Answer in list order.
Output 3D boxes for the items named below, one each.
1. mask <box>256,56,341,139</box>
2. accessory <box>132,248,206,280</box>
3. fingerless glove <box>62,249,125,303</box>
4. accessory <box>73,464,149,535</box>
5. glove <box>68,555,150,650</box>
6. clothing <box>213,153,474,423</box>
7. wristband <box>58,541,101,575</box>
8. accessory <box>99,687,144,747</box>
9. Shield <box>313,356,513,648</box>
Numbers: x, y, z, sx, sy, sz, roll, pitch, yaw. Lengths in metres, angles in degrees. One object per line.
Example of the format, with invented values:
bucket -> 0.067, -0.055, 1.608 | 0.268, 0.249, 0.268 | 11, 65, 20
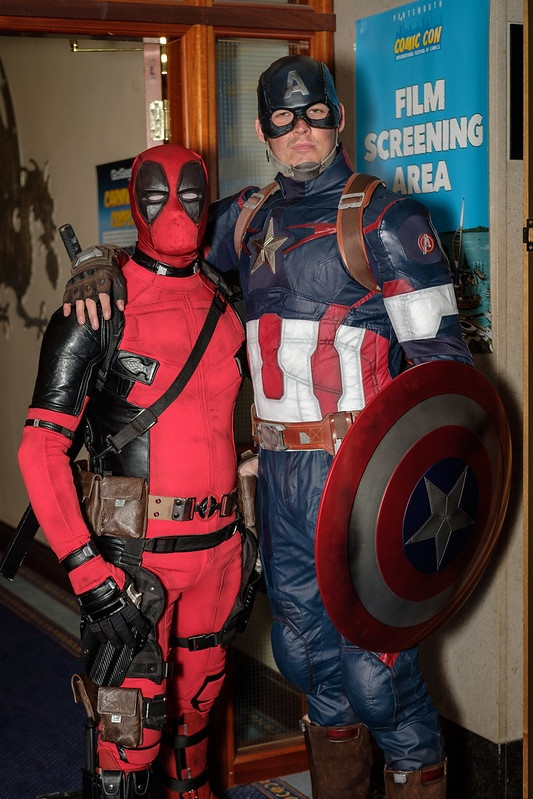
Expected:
mask -> 0.066, -0.626, 1.501 | 0.172, 0.158, 0.173 | -6, 32, 8
accessory -> -0.204, -0.276, 1.481 | 0.086, 0.024, 0.096 | 5, -14, 39
fingerless glove -> -0.334, -0.248, 1.393 | 0.122, 0.141, 0.229 | -1, 1, -11
accessory -> -0.300, 0.201, 1.357 | 0.104, 0.126, 0.054 | 1, 2, 12
glove -> -0.277, 0.398, 1.336 | 0.120, 0.147, 0.065 | -11, 31, 31
clothing -> 0.154, -0.208, 1.415 | 0.710, 0.525, 0.242 | 1, 12, 45
wristband -> -0.354, 0.304, 1.309 | 0.061, 0.032, 0.063 | -26, -7, 1
accessory -> -0.278, 0.621, 1.338 | 0.080, 0.126, 0.037 | -1, 1, -3
Shield -> 0.279, 0.214, 1.280 | 0.162, 0.556, 0.455 | 0, 2, 41
